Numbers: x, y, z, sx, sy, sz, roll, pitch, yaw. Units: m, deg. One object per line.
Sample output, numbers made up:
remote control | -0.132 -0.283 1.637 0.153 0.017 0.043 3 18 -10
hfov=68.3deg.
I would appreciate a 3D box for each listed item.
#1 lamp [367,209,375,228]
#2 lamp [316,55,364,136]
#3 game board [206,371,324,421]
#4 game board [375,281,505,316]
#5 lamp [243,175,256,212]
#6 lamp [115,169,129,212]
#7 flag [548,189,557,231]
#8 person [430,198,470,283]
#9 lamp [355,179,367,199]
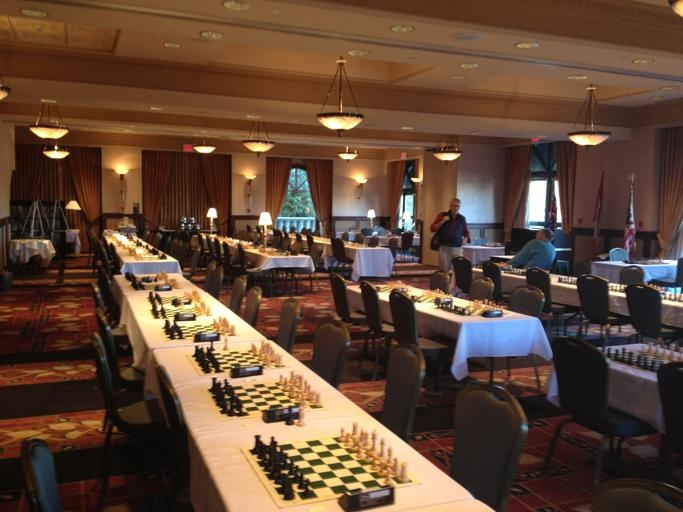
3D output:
lamp | 1.198 -1.526 20.136 0.328 0.702 0.973 -2 5 4
lamp | -0.097 -2.595 8.750 0.753 1.567 0.771 0 5 -33
game board | -0.426 0.776 2.862 0.642 0.094 0.649 1 1 -37
game board | 1.105 0.458 5.782 1.306 0.221 2.097 1 2 -24
lamp | -3.491 -2.320 19.103 0.386 1.380 0.156 -3 6 -10
lamp | -7.698 -2.348 17.774 0.386 1.521 0.112 -3 6 -6
flag | 5.890 -1.287 14.076 0.232 1.079 0.944 0 6 22
person | 2.421 -0.470 10.824 0.747 2.450 0.818 0 6 -31
lamp | 0.807 -2.691 20.348 0.452 0.775 0.157 -2 6 1
